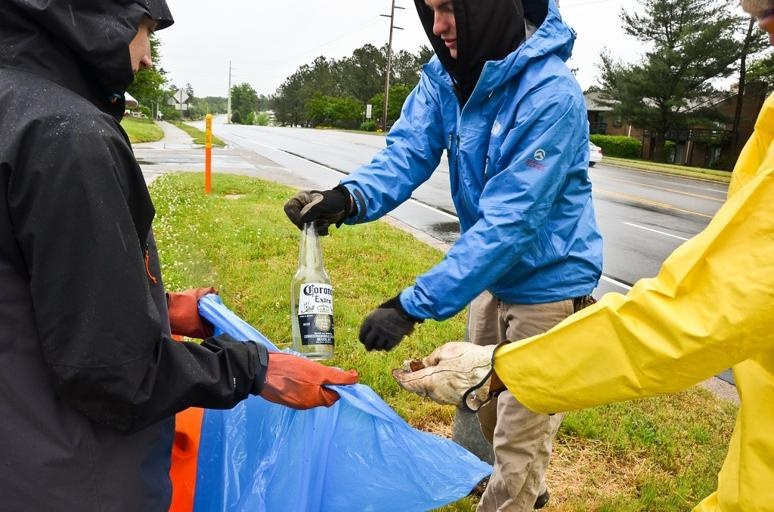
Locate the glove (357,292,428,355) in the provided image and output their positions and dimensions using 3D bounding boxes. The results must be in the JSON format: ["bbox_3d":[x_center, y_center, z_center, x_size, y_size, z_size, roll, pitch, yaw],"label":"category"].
[{"bbox_3d":[0.019,0.286,2.276,0.293,0.077,0.176,-34,82,-16],"label":"glove"}]

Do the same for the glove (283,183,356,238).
[{"bbox_3d":[-0.323,-0.251,2.652,0.426,0.259,0.290,-3,33,-12],"label":"glove"}]

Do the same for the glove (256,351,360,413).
[{"bbox_3d":[-0.297,0.495,2.058,0.334,0.108,0.214,27,60,-7],"label":"glove"}]

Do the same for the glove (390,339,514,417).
[{"bbox_3d":[0.247,0.488,2.060,0.428,0.177,0.253,-12,39,22],"label":"glove"}]
